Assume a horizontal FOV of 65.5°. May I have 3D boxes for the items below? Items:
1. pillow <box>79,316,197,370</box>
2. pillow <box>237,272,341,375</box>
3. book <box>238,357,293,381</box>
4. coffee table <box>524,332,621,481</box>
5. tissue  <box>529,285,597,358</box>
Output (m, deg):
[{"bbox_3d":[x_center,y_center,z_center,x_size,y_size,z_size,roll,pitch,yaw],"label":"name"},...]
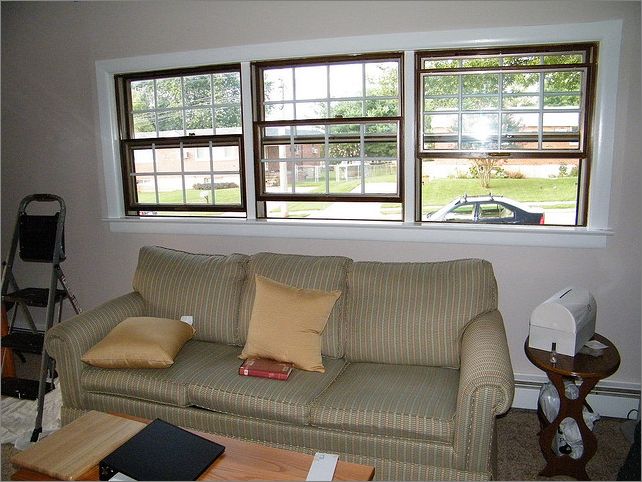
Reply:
[{"bbox_3d":[-1.203,0.659,3.367,0.573,0.195,0.609,0,13,-1],"label":"pillow"},{"bbox_3d":[-0.199,0.529,3.153,0.575,0.522,0.175,8,-13,13],"label":"pillow"},{"bbox_3d":[-0.331,0.780,3.056,0.194,0.043,0.146,5,6,8],"label":"book"},{"bbox_3d":[1.472,0.936,3.225,0.660,0.815,0.881,2,11,23],"label":"coffee table"},{"bbox_3d":[1.575,0.486,3.193,0.264,0.309,0.515,4,14,40],"label":"tissue "}]
